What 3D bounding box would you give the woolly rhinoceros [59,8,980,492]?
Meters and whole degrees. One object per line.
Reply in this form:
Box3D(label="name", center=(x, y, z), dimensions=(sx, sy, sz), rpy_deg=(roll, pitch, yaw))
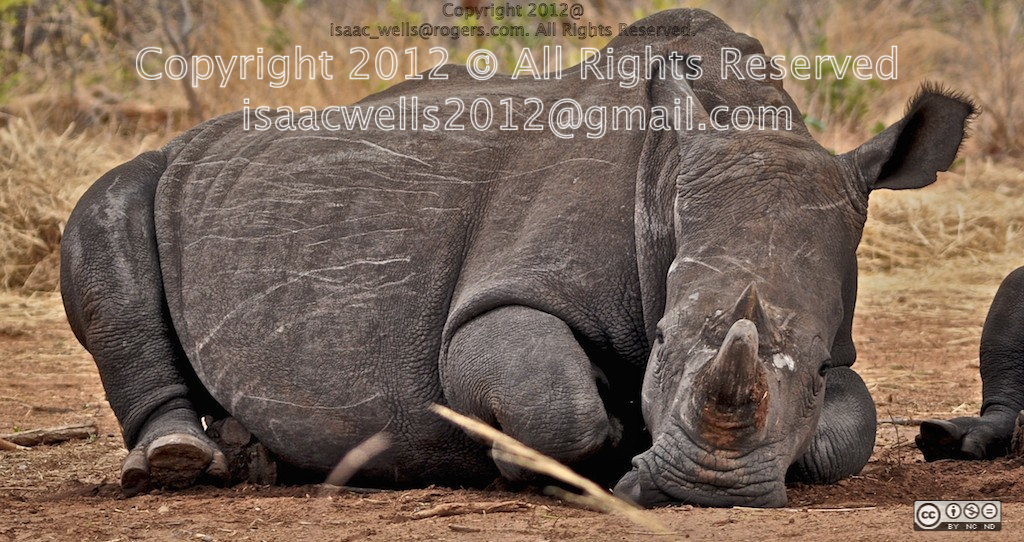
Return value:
Box3D(label="woolly rhinoceros", center=(-0.116, -0.035, 11.478), dimensions=(6.572, 3.565, 1.999), rpy_deg=(1, 14, 14))
